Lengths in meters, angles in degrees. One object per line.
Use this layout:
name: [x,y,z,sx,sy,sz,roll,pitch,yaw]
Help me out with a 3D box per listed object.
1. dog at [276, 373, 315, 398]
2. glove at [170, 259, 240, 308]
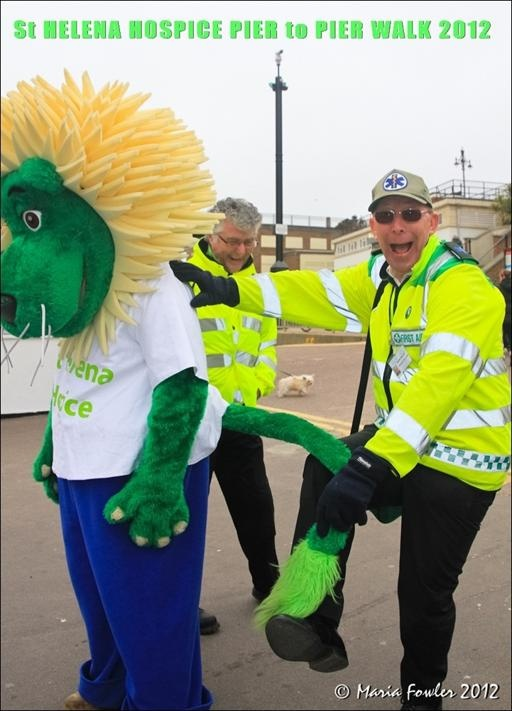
dog: [0.645,0.509,11.462,0.734,0.377,0.281,-4,9,-4]
glove: [-0.171,-0.250,2.462,0.373,0.116,0.083,8,13,-33]
